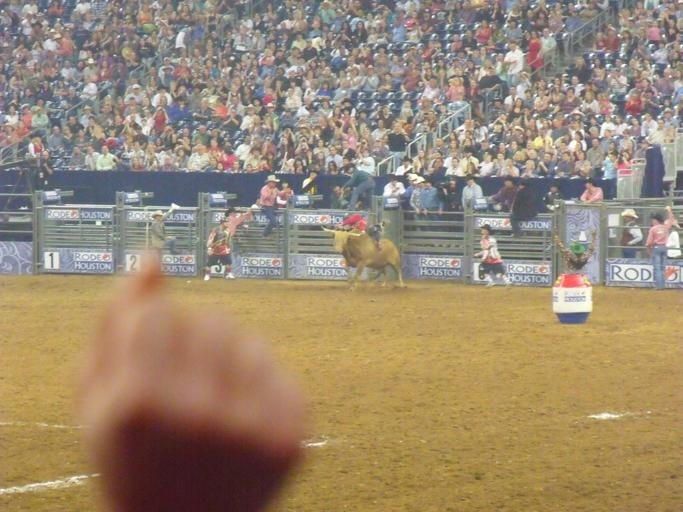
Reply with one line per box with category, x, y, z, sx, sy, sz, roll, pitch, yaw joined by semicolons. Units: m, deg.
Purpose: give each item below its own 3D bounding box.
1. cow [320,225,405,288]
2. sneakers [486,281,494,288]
cow;0.765;0.091;51.206;2.320;1.924;0.874;-3;2;-37
sneakers;4.759;0.930;51.953;0.145;0.171;0.201;-13;-21;43
